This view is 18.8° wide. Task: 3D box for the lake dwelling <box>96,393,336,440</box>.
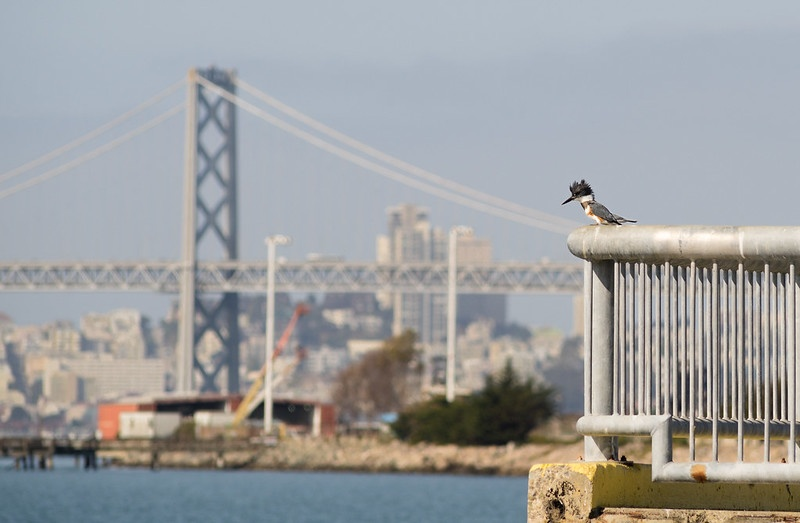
[{"bbox_3d":[-11.102,9.121,142.339,15.553,2.456,2.216,-8,5,22],"label":"lake dwelling"}]
